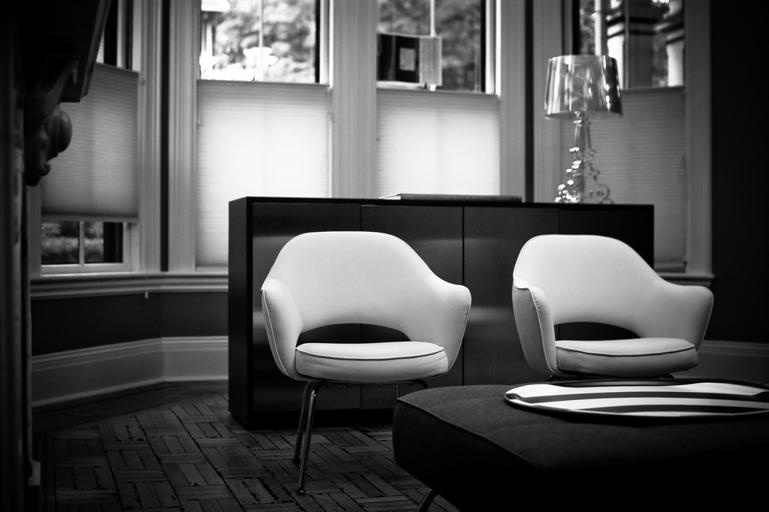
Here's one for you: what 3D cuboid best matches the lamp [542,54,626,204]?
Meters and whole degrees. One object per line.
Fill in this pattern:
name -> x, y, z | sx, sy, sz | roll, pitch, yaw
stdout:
lamp -> 1.356, -0.832, 4.289 | 0.472, 0.950, 0.823 | 1, 3, 19

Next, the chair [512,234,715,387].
chair -> 1.042, 0.268, 3.048 | 0.911, 0.731, 0.746 | 0, -3, -8

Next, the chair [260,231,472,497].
chair -> -0.116, 0.446, 2.862 | 0.945, 1.159, 0.742 | 2, -6, -18
